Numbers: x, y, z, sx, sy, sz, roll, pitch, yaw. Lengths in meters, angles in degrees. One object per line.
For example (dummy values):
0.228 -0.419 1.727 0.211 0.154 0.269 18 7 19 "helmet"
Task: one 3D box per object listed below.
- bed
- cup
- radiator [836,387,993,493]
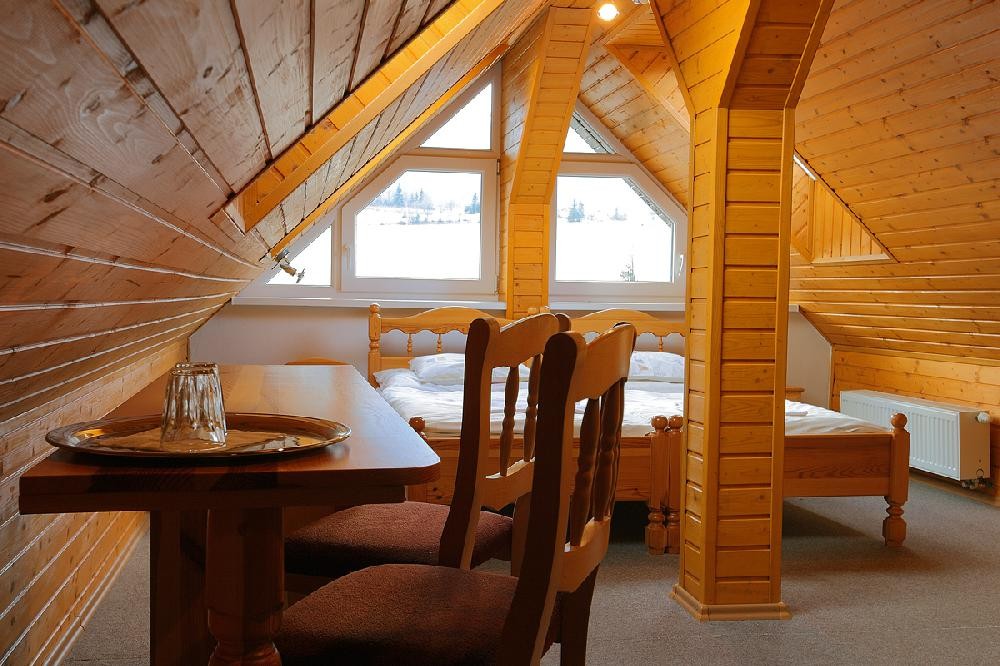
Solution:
0.972 0.486 4.325 2.156 0.829 2.103 0 2 -9 "bed"
-0.507 0.134 1.249 0.157 0.143 0.141 2 0 -38 "cup"
2.489 0.645 4.120 0.176 0.269 0.794 -3 4 -17 "radiator"
